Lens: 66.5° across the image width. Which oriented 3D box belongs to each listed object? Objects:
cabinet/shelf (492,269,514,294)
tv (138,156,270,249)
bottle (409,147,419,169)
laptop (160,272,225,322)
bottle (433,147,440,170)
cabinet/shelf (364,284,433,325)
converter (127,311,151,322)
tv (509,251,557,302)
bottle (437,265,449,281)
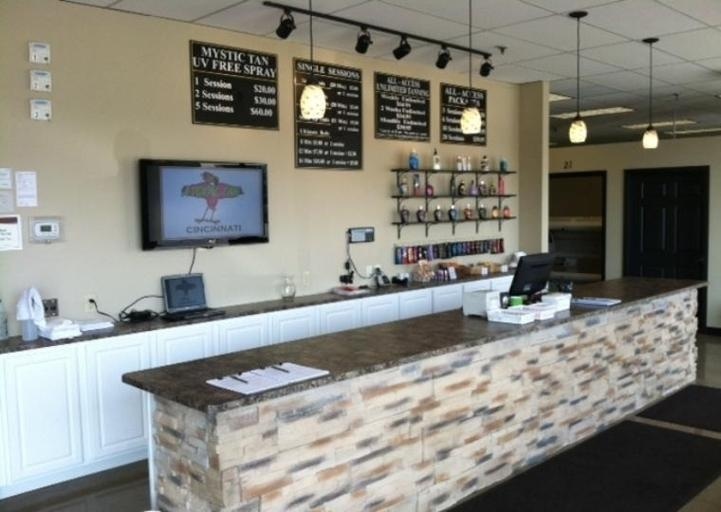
[{"bbox_3d":[1.702,0.306,6.610,0.257,0.166,0.135,-3,5,-35],"label":"cabinet/shelf"},{"bbox_3d":[-1.527,-0.508,5.120,0.928,0.579,0.097,-2,2,-37],"label":"tv"},{"bbox_3d":[0.637,-1.173,6.665,0.137,0.242,0.326,0,8,6],"label":"bottle"},{"bbox_3d":[-1.554,0.361,5.012,0.512,0.417,0.412,-2,-1,-35],"label":"laptop"},{"bbox_3d":[0.940,-1.218,6.872,0.104,0.266,0.337,0,9,9],"label":"bottle"},{"bbox_3d":[0.469,0.618,6.217,0.899,0.317,0.256,-13,-26,25],"label":"cabinet/shelf"},{"bbox_3d":[-1.929,0.516,4.791,0.104,0.049,0.127,2,3,36],"label":"converter"},{"bbox_3d":[1.532,0.209,4.820,0.482,0.462,0.173,-6,20,-34],"label":"tv"},{"bbox_3d":[1.005,0.206,6.798,0.166,0.261,0.161,-1,-1,0],"label":"bottle"}]
